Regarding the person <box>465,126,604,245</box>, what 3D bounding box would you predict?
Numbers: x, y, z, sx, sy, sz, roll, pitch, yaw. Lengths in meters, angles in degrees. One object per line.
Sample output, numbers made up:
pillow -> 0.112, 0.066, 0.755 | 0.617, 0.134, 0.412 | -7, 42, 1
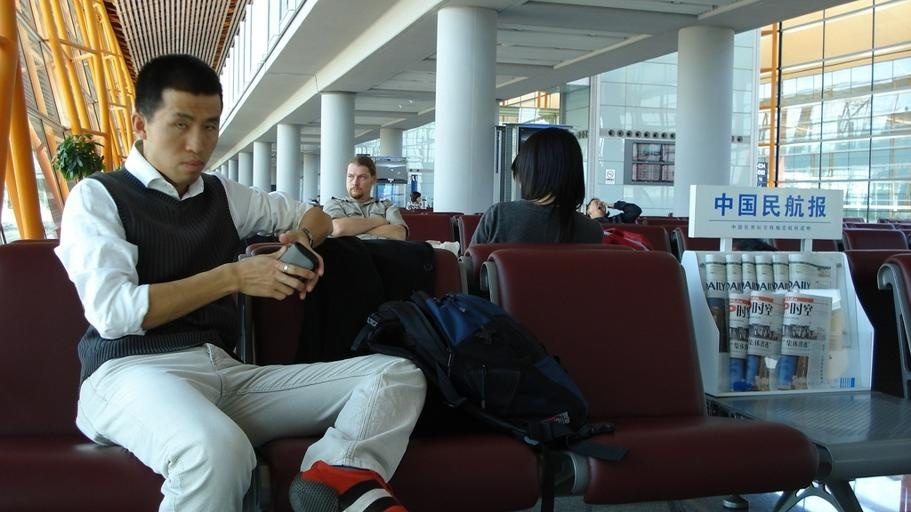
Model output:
person -> 0.628, -0.425, 4.507 | 1.007, 0.894, 0.524 | 5, 4, 0

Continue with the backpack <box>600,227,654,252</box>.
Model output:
backpack -> 1.353, -0.137, 4.976 | 0.360, 0.121, 0.270 | 6, 3, 3

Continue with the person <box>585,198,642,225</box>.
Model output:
person -> 2.113, -0.587, 8.472 | 0.939, 0.372, 0.916 | -1, 4, 13
